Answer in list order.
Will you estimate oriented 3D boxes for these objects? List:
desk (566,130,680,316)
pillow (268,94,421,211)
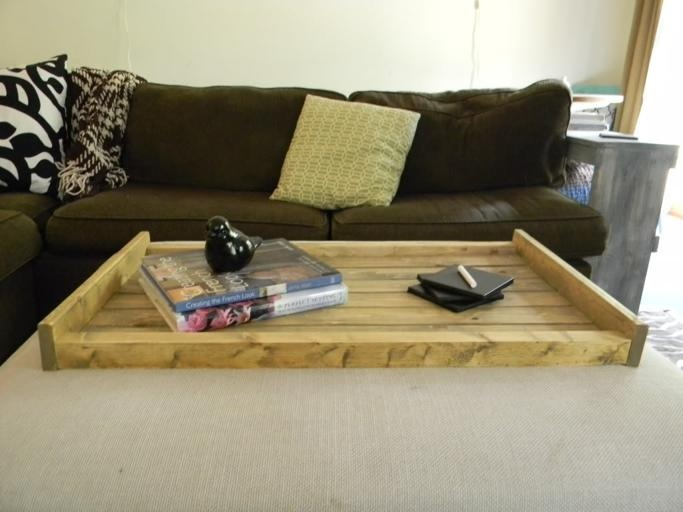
[{"bbox_3d":[1.192,-0.125,2.145,0.324,0.694,0.213,5,25,13],"label":"desk"},{"bbox_3d":[-0.007,-0.419,2.327,0.622,0.586,0.178,22,3,26],"label":"pillow"}]
